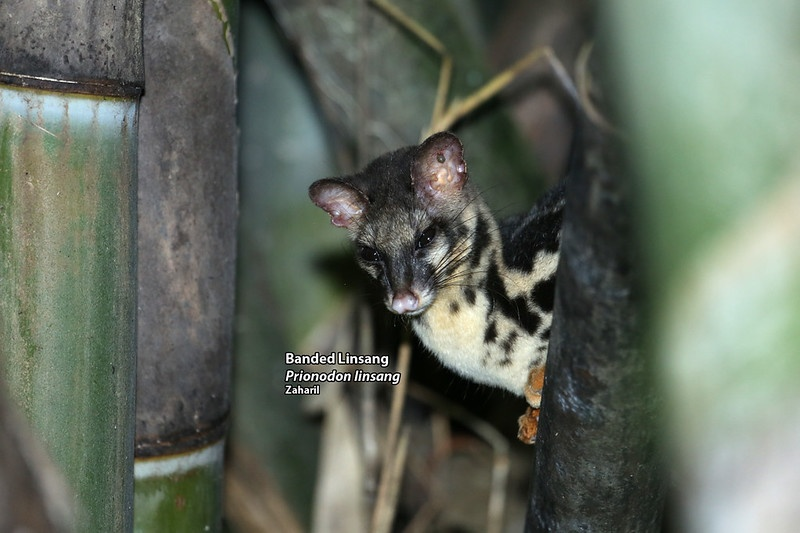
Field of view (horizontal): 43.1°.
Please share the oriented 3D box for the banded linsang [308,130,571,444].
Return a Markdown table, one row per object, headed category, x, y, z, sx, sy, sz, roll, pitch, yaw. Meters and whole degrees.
| category | x | y | z | sx | sy | sz | roll | pitch | yaw |
| --- | --- | --- | --- | --- | --- | --- | --- | --- | --- |
| banded linsang | 0.103 | -0.016 | 3.073 | 0.755 | 0.765 | 0.369 | 4 | 3 | 10 |
